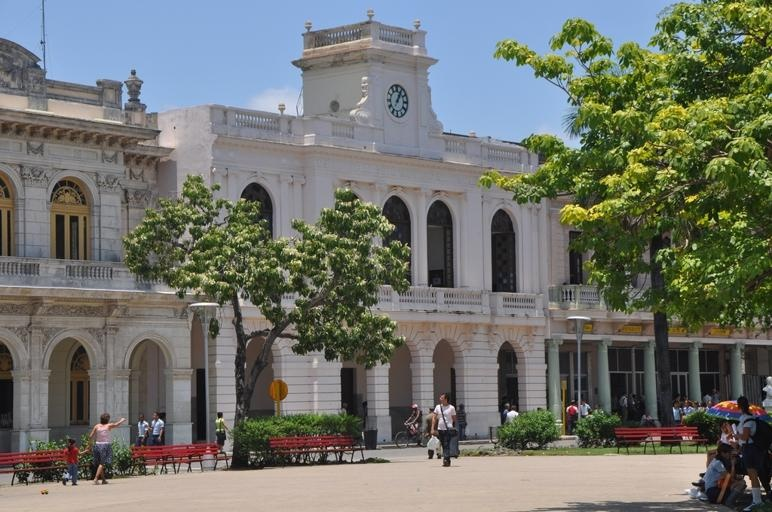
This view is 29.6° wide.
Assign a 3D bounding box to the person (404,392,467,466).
[{"bbox_3d":[2.051,6.149,49.987,1.424,2.683,1.114,3,-6,-30],"label":"person"}]

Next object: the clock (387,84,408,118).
[{"bbox_3d":[0.512,-6.935,65.799,0.254,1.663,1.740,0,-4,37],"label":"clock"}]

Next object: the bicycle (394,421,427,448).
[{"bbox_3d":[0.966,7.855,62.838,1.947,1.090,0.944,5,-2,-26],"label":"bicycle"}]

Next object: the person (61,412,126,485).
[{"bbox_3d":[-9.655,6.405,46.929,1.027,2.855,1.524,-3,-6,36],"label":"person"}]

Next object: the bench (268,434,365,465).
[{"bbox_3d":[-2.655,6.863,51.399,3.443,1.066,1.105,4,-9,-28],"label":"bench"}]

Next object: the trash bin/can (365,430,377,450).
[{"bbox_3d":[-0.656,7.468,58.286,0.457,0.780,0.679,-1,-11,-7],"label":"trash bin/can"}]
